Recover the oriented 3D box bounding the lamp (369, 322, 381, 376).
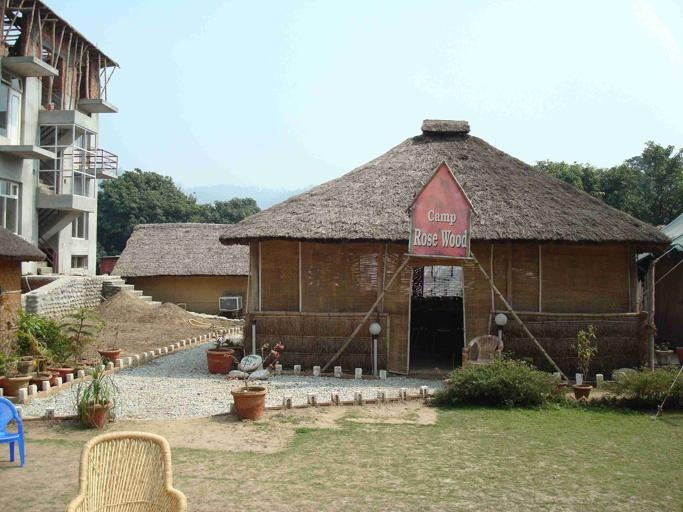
[{"bbox_3d":[0.802,2.182,17.141,0.354,1.225,0.236,-6,-14,38],"label":"lamp"}]

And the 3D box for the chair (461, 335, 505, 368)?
[{"bbox_3d":[3.248,2.132,16.469,0.777,0.898,0.758,-4,-17,29],"label":"chair"}]

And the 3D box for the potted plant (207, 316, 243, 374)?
[{"bbox_3d":[-3.127,2.400,19.507,0.972,1.064,0.902,1,-4,37],"label":"potted plant"}]

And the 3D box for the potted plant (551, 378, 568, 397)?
[{"bbox_3d":[4.551,2.788,15.415,0.425,0.273,0.397,0,-1,-27],"label":"potted plant"}]

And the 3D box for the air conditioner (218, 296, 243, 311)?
[{"bbox_3d":[-4.315,1.857,28.491,0.681,0.381,0.638,0,0,2],"label":"air conditioner"}]

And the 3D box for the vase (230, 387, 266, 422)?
[{"bbox_3d":[-1.740,2.803,13.918,0.780,0.527,0.732,-2,-1,-12],"label":"vase"}]
